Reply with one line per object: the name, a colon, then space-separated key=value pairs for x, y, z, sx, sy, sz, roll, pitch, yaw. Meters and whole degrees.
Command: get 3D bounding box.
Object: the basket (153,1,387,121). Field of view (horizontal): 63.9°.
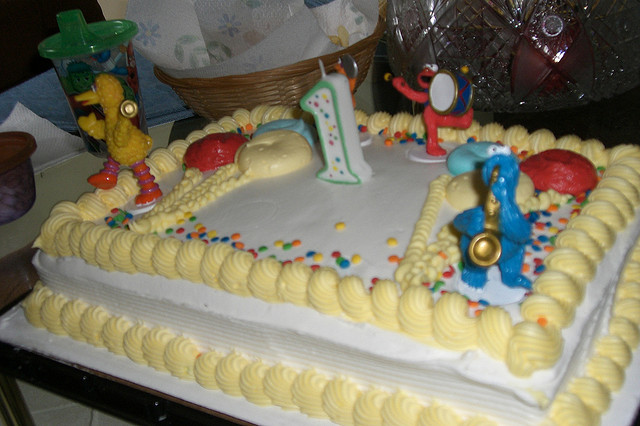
basket: x=-0.308 y=-0.952 z=3.693 sx=0.861 sy=0.885 sz=1.602 roll=19 pitch=37 yaw=32
